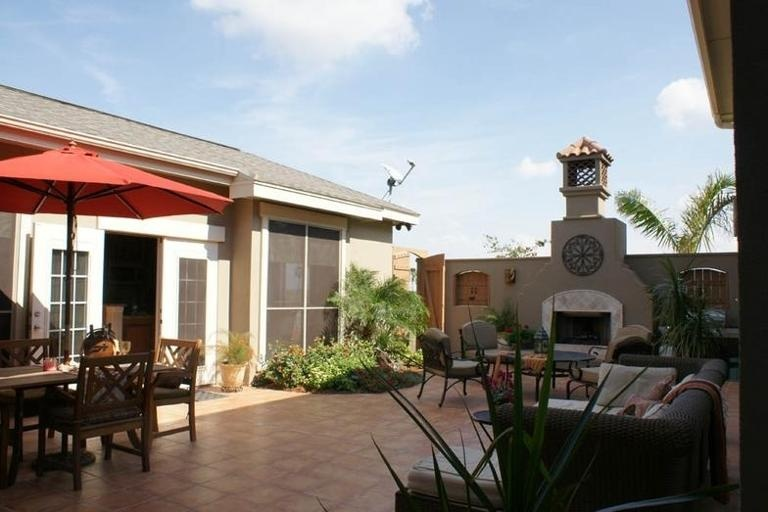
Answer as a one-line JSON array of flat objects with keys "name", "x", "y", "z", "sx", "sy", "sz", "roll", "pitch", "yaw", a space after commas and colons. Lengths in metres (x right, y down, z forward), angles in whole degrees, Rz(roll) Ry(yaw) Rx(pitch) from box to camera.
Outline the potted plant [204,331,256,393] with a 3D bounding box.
[{"name": "potted plant", "x": -2.331, "y": 1.745, "z": 9.855, "sx": 0.955, "sy": 0.960, "sz": 0.824, "roll": 0, "pitch": -7, "yaw": -1}]

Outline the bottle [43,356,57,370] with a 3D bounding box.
[{"name": "bottle", "x": -3.503, "y": 1.133, "z": 6.269, "sx": 0.130, "sy": 0.135, "sz": 0.128, "roll": 1, "pitch": -8, "yaw": -19}]

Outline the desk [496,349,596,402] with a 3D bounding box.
[{"name": "desk", "x": 2.539, "y": 1.801, "z": 8.952, "sx": 1.134, "sy": 0.439, "sz": 1.132, "roll": 1, "pitch": -14, "yaw": -37}]
